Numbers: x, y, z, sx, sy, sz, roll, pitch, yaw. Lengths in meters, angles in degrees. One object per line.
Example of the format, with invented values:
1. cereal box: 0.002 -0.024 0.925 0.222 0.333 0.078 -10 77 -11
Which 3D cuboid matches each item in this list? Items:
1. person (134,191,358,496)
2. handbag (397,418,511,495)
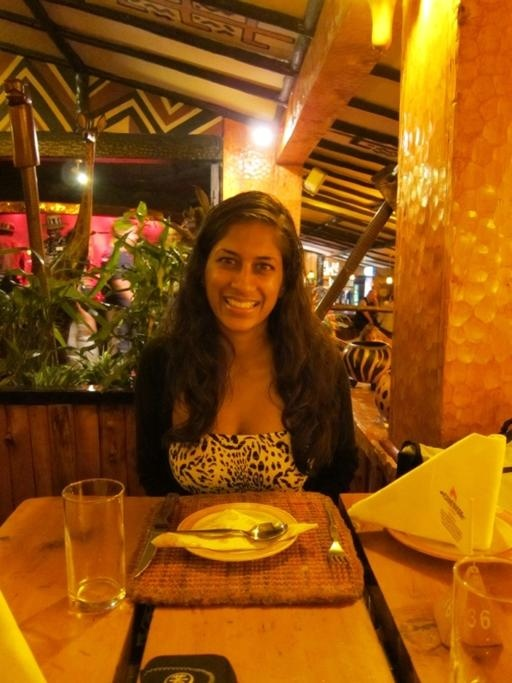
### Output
1. person: -0.034 0.021 1.676 0.684 0.944 0.459 -3 5 -13
2. handbag: 0.423 0.227 1.118 0.254 0.106 0.117 -2 4 -1
